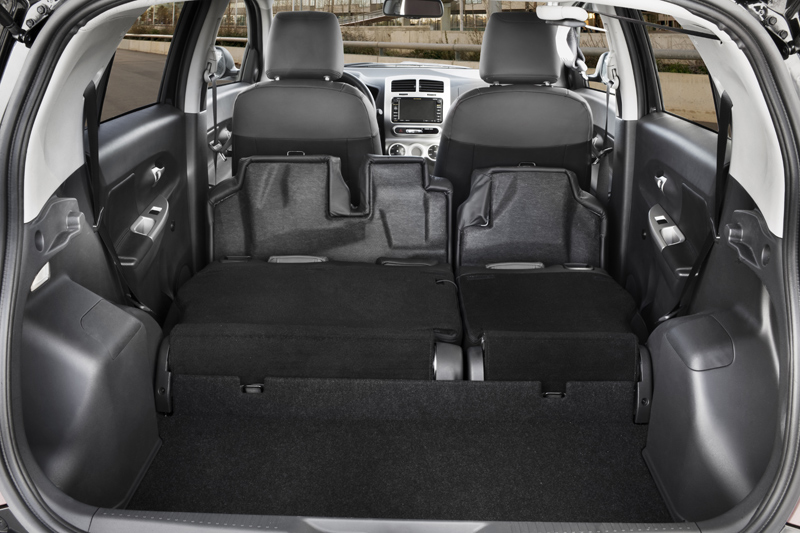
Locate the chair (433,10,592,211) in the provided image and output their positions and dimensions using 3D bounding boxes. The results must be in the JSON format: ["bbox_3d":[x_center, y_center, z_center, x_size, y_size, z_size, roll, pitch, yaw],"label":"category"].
[{"bbox_3d":[0.593,-0.858,3.297,0.836,1.061,0.949,2,-1,4],"label":"chair"}]

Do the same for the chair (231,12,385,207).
[{"bbox_3d":[-0.624,-1.054,3.340,0.762,0.965,0.875,-7,43,-21],"label":"chair"}]
